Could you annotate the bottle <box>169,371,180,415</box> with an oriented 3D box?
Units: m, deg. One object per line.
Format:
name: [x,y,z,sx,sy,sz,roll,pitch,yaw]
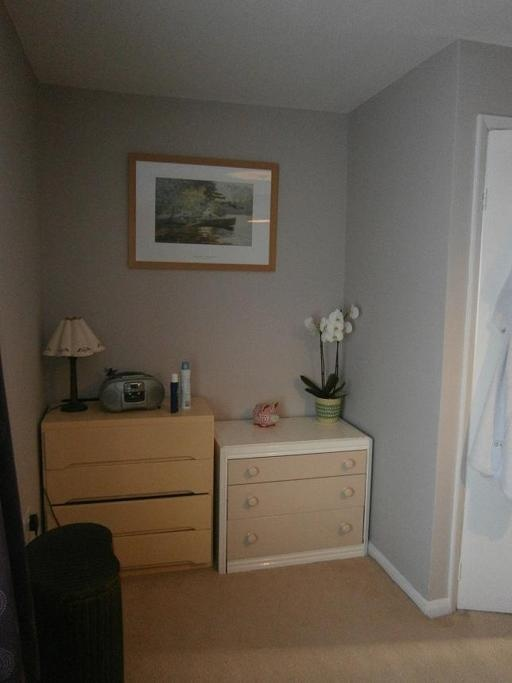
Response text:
bottle: [-0.377,0.230,2.730,0.043,0.175,0.156,0,8,-7]

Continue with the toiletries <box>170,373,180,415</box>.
toiletries: [-0.377,0.230,2.730,0.044,0.175,0.156,-1,8,-8]

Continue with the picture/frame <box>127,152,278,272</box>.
picture/frame: [-0.260,-0.639,2.967,0.749,0.552,0.019,-2,8,-15]

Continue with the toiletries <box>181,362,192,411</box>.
toiletries: [-0.333,0.211,2.778,0.065,0.217,0.068,1,-1,14]

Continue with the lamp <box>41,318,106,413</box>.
lamp: [-0.841,0.113,2.736,0.268,0.441,0.278,-6,10,-37]

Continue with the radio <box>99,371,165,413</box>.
radio: [-0.619,0.212,2.886,0.262,0.176,0.468,-3,8,-17]
